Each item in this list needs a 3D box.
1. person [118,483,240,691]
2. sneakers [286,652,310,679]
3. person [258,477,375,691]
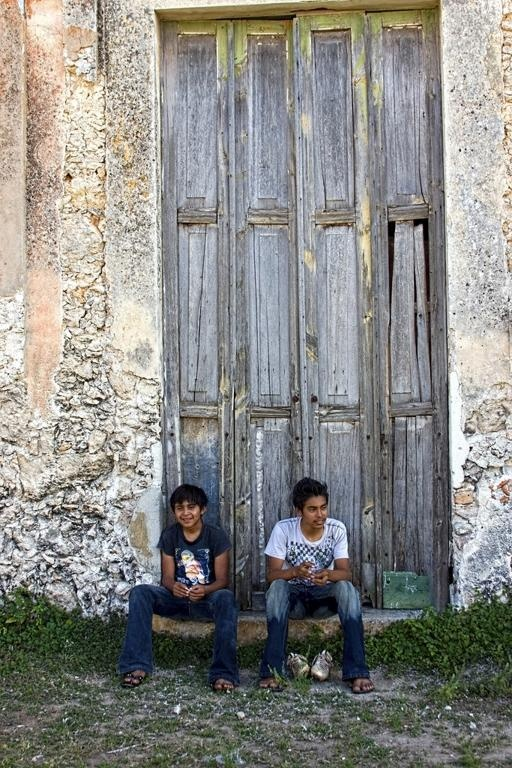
[{"bbox_3d":[-0.386,0.988,4.764,0.576,0.860,0.711,0,5,-2],"label":"person"},{"bbox_3d":[0.203,1.390,4.672,0.052,0.090,0.160,-3,-12,-17],"label":"sneakers"},{"bbox_3d":[0.282,1.011,4.860,0.489,1.090,0.873,1,-5,-2],"label":"person"}]
